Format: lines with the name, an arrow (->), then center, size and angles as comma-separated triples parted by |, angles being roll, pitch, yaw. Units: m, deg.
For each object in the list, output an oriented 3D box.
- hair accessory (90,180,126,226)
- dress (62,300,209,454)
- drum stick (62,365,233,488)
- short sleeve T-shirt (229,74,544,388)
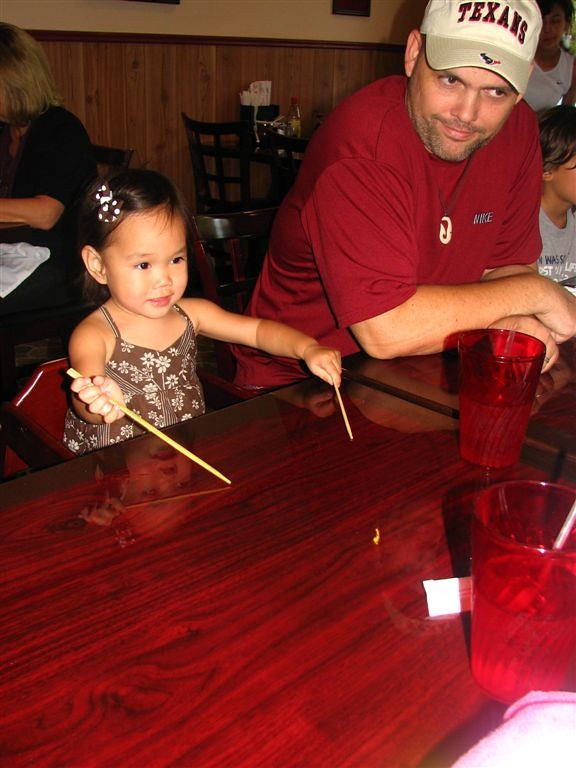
hair accessory -> -0.350, -0.350, 1.183 | 0.078, 0.070, 0.030 | -24, -13, 31
dress -> -0.287, -0.013, 1.146 | 0.244, 0.294, 0.191 | -21, 24, -38
drum stick -> -0.222, 0.059, 0.919 | 0.255, 0.034, 0.012 | 37, 32, 3
short sleeve T-shirt -> 0.293, -0.342, 1.520 | 0.615, 0.762, 0.421 | -18, 60, -21
